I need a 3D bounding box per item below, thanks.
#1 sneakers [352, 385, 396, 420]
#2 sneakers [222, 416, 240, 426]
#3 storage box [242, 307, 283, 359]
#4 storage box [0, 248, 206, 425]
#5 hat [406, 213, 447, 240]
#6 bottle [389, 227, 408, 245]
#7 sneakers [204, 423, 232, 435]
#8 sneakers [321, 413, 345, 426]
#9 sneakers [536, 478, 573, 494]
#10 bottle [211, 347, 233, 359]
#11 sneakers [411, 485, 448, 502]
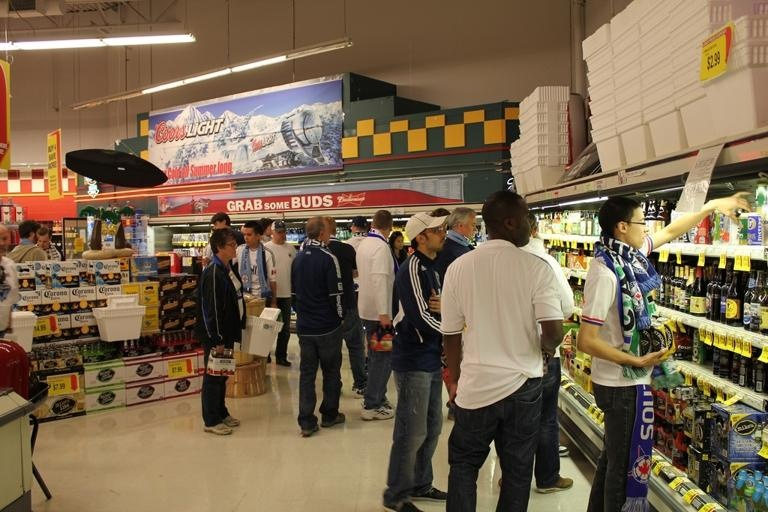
[{"bbox_3d":[-0.071,1.770,6.380,0.209,0.245,0.593,3,3,44],"label":"sneakers"},{"bbox_3d":[-1.719,1.854,6.111,0.171,0.070,0.098,2,2,20],"label":"sneakers"},{"bbox_3d":[-1.496,0.854,6.289,0.422,0.550,0.457,21,-18,-41],"label":"storage box"},{"bbox_3d":[-3.596,0.750,7.341,3.016,2.183,1.692,-3,6,-27],"label":"storage box"},{"bbox_3d":[0.336,-0.244,4.416,0.301,0.158,0.195,-23,14,12],"label":"hat"},{"bbox_3d":[0.238,-0.218,7.582,0.243,0.317,0.304,-5,9,-13],"label":"bottle"},{"bbox_3d":[-1.820,1.885,5.944,0.226,0.079,0.120,-1,-2,21],"label":"sneakers"},{"bbox_3d":[-0.561,1.867,6.172,0.107,0.122,0.295,5,8,38],"label":"sneakers"},{"bbox_3d":[1.514,2.025,4.818,0.339,0.139,0.123,-4,-2,-8],"label":"sneakers"},{"bbox_3d":[-1.736,1.017,5.793,0.146,0.062,0.144,2,1,0],"label":"bottle"},{"bbox_3d":[0.423,2.065,4.741,0.388,0.141,0.144,-1,-6,6],"label":"sneakers"}]
